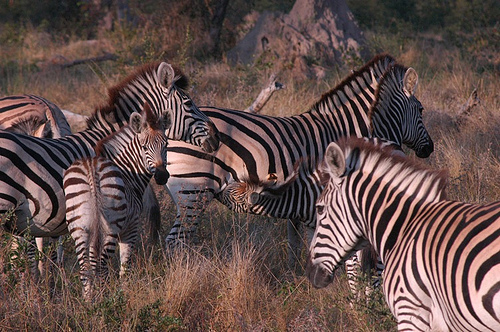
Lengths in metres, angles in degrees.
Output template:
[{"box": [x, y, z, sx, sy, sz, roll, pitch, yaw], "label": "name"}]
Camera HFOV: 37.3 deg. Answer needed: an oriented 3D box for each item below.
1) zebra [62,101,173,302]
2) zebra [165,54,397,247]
[{"box": [-2.295, 0.698, 12.256, 1.005, 3.036, 4.124, 7, 5, -2], "label": "zebra"}, {"box": [0.726, -0.019, 11.941, 4.080, 3.234, 1.169, -3, 6, -13], "label": "zebra"}]
